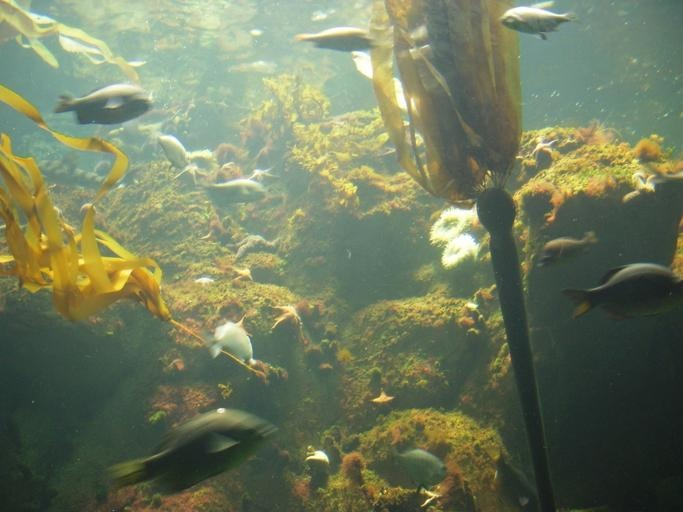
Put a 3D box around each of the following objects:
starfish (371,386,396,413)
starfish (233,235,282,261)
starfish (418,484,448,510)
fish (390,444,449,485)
[{"bbox_3d":[1.138,3.971,22.691,0.645,0.226,0.460,-34,42,-20],"label":"starfish"},{"bbox_3d":[-2.819,-0.350,26.551,1.543,0.372,1.106,-21,39,-5],"label":"starfish"},{"bbox_3d":[2.340,6.224,21.079,0.619,0.225,0.521,-6,40,12],"label":"starfish"},{"bbox_3d":[2.086,5.581,21.508,1.305,0.479,0.875,-11,39,7],"label":"fish"}]
